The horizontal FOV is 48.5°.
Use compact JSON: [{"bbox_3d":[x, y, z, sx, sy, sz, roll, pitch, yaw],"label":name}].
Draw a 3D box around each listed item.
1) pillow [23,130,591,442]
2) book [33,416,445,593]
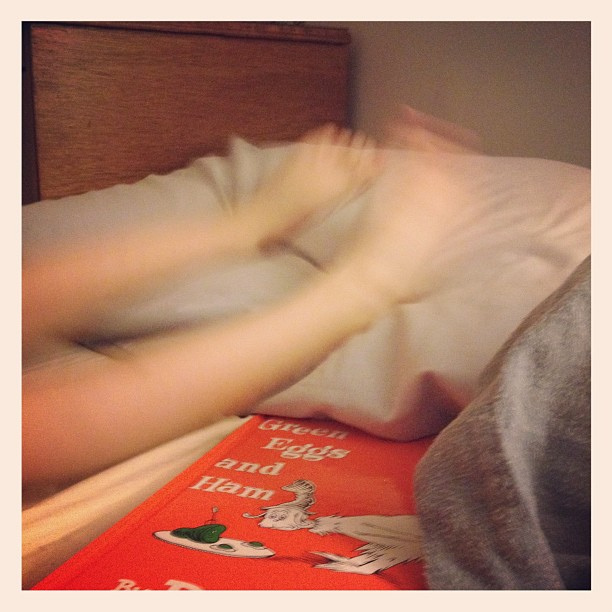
[{"bbox_3d":[-0.028,-0.034,0.938,0.751,0.155,0.396,5,37,22],"label":"pillow"},{"bbox_3d":[-0.043,0.223,0.795,0.396,0.130,0.262,6,20,13],"label":"book"}]
